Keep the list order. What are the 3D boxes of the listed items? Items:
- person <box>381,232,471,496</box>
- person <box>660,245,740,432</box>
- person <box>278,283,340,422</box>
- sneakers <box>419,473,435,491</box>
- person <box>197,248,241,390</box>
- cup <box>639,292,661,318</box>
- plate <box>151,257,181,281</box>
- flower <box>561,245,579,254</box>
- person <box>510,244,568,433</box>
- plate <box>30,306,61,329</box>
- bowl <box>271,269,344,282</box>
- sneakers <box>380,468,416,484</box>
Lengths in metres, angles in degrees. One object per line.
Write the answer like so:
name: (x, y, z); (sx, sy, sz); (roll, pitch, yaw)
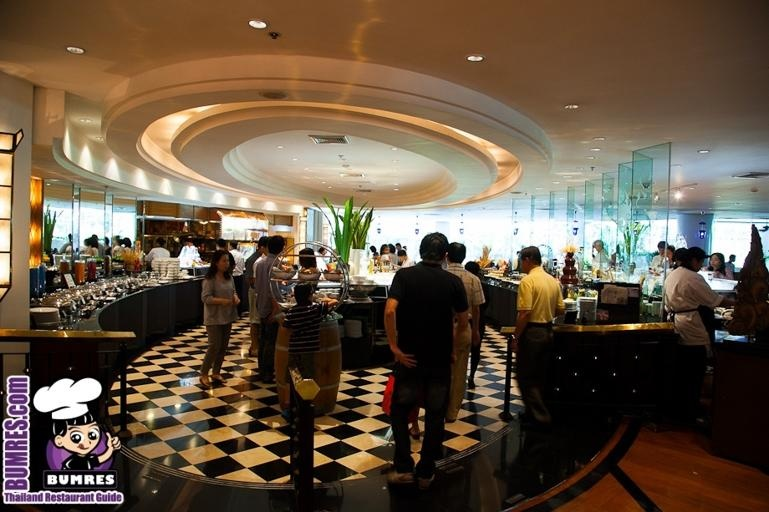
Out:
person: (0.363, 0.934, 4.571); (0.788, 2.243, 0.664); (6, -12, -2)
person: (3.449, 0.847, 5.405); (0.488, 1.806, 0.747); (4, 9, 28)
person: (-0.841, 1.051, 5.395); (0.706, 1.591, 0.492); (-2, 8, -15)
sneakers: (0.370, 1.967, 4.228); (0.124, 0.095, 0.132); (1, -8, -2)
person: (-2.196, 0.813, 6.349); (0.510, 1.765, 0.486); (-4, 9, -23)
cup: (4.212, 0.788, 7.639); (0.284, 0.386, 0.281); (0, 8, 0)
plate: (-4.227, 0.259, 9.307); (0.457, 0.418, 0.439); (3, -6, -20)
flower: (3.232, -0.115, 8.343); (0.244, 0.198, 0.239); (0, -3, -2)
person: (1.687, 0.871, 5.285); (0.486, 1.933, 0.489); (3, 9, 21)
plate: (-3.928, 0.676, 5.665); (0.282, 0.261, 0.283); (8, 8, 23)
bowl: (-0.890, 0.221, 5.421); (0.828, 0.165, 0.323); (1, 9, 8)
sneakers: (0.117, 1.953, 4.266); (0.285, 0.161, 0.103); (4, 9, 24)
